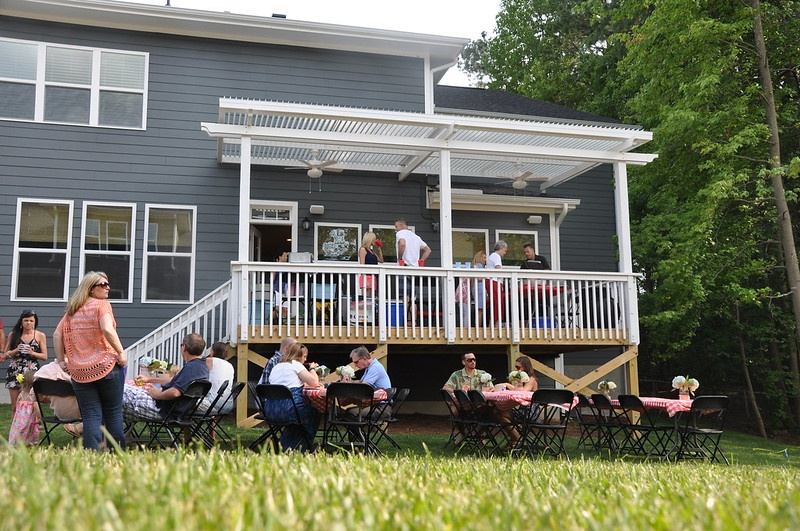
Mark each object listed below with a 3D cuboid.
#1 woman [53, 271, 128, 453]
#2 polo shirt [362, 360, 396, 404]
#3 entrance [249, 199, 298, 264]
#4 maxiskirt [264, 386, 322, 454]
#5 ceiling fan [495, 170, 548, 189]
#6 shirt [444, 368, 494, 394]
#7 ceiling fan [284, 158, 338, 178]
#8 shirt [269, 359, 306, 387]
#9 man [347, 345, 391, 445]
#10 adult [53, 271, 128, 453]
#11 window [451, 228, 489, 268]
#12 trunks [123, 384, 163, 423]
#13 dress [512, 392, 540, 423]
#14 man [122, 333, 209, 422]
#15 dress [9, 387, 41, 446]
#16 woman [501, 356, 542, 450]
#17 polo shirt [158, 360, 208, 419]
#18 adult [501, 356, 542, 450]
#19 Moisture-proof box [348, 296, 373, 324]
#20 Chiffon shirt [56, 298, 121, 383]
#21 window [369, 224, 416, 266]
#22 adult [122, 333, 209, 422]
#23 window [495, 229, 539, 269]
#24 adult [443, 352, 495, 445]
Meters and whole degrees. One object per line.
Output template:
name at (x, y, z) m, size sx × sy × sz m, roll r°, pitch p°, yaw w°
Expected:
woman at (-5.050, 1.750, 15.656) m, size 1.146 × 3.287 × 1.094 m, roll -6°, pitch -4°, yaw 1°
polo shirt at (-0.378, 2.109, 17.929) m, size 0.637 × 0.785 × 0.909 m, roll -3°, pitch -19°, yaw -4°
entrance at (-3.194, -0.929, 23.899) m, size 1.403 × 2.543 × 0.249 m, roll 7°, pitch -31°, yaw -17°
maxiskirt at (-1.910, 2.729, 16.657) m, size 0.967 × 1.196 × 0.554 m, roll 0°, pitch 13°, yaw -6°
ceiling fan at (3.087, -2.141, 23.467) m, size 0.721 × 0.298 × 0.715 m, roll 2°, pitch 2°, yaw -8°
shirt at (1.421, 2.184, 19.078) m, size 0.801 × 0.580 × 0.396 m, roll -1°, pitch -24°, yaw 4°
ceiling fan at (-1.966, -2.338, 22.316) m, size 0.706 × 0.295 × 0.765 m, roll 1°, pitch -6°, yaw 0°
shirt at (-1.975, 1.887, 17.000) m, size 0.688 × 0.653 × 0.382 m, roll 2°, pitch -4°, yaw 12°
man at (-0.581, 2.487, 17.823) m, size 1.137 × 2.046 × 0.997 m, roll -2°, pitch -35°, yaw 0°
adult at (-5.086, 1.765, 15.608) m, size 1.122 × 3.238 × 0.983 m, roll -6°, pitch -6°, yaw -7°
window at (1.747, -0.444, 24.031) m, size 0.968 × 0.821 × 0.090 m, roll 7°, pitch -19°, yaw -20°
trunks at (-4.558, 2.444, 16.650) m, size 0.760 × 0.300 × 0.495 m, roll -7°, pitch -47°, yaw 24°
dress at (2.494, 2.796, 18.260) m, size 0.443 × 0.657 × 0.502 m, roll 4°, pitch -5°, yaw -21°
man at (-4.504, 2.014, 17.219) m, size 2.188 × 1.498 × 1.090 m, roll -1°, pitch -9°, yaw 13°
dress at (-6.598, 2.712, 16.621) m, size 0.518 × 1.055 × 0.734 m, roll -4°, pitch 14°, yaw -23°
woman at (2.458, 2.799, 19.013) m, size 1.065 × 1.922 × 0.645 m, roll -3°, pitch -6°, yaw 28°
polo shirt at (-3.741, 2.183, 16.803) m, size 1.007 × 1.246 × 0.854 m, roll 4°, pitch -8°, yaw -16°
adult at (2.426, 2.807, 18.946) m, size 1.012 × 1.893 × 0.691 m, roll -2°, pitch -8°, yaw 20°
Moisture-proof box at (-0.817, 0.959, 20.353) m, size 0.536 × 0.672 × 0.799 m, roll 1°, pitch 13°, yaw -4°
Chiffon shirt at (-5.114, 1.272, 15.494) m, size 1.321 × 1.478 × 0.866 m, roll -3°, pitch -7°, yaw 17°
window at (-0.188, -0.512, 22.074) m, size 1.013 × 1.130 × 0.081 m, roll 3°, pitch -8°, yaw -19°
adult at (-4.546, 2.028, 17.223) m, size 2.246 × 1.519 × 1.059 m, roll -2°, pitch -9°, yaw 15°
window at (2.932, -0.417, 23.946) m, size 1.054 × 0.866 × 0.082 m, roll 1°, pitch -9°, yaw -19°
adult at (1.428, 2.642, 19.108) m, size 1.144 × 1.633 × 1.001 m, roll -1°, pitch 1°, yaw 3°
